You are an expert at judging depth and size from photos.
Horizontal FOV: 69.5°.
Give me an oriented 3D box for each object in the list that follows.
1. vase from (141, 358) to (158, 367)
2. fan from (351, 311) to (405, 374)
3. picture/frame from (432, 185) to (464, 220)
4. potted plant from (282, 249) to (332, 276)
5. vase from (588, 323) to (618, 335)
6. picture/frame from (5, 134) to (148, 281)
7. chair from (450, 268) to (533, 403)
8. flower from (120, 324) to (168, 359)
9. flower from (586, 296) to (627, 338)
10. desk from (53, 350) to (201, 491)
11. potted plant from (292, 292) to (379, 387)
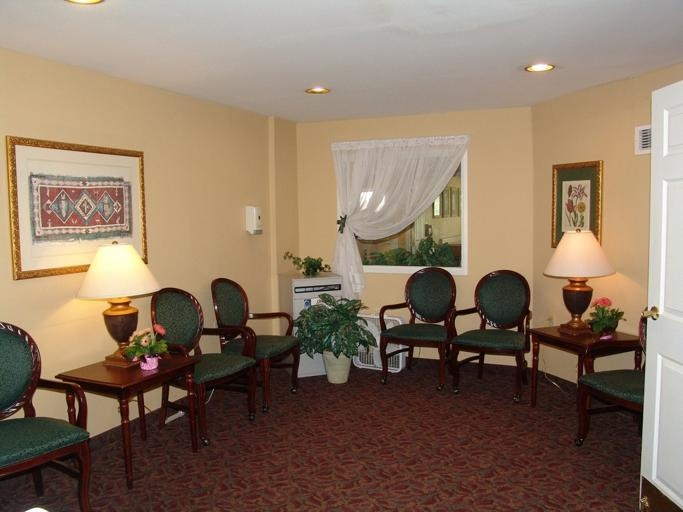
[{"bbox_3d":[-1.461,0.821,3.766,0.079,0.081,0.098,-6,-22,23],"label":"vase"},{"bbox_3d":[0.377,1.064,6.005,0.798,0.732,0.294,15,-19,-38],"label":"fan"},{"bbox_3d":[1.326,-0.671,6.011,0.436,0.424,0.034,2,1,28],"label":"picture/frame"},{"bbox_3d":[-0.453,0.083,6.173,0.533,0.272,0.617,1,8,13],"label":"potted plant"},{"bbox_3d":[2.315,0.629,4.325,0.148,0.093,0.148,-1,3,-16],"label":"vase"},{"bbox_3d":[-2.169,-0.379,3.928,0.028,1.204,1.296,4,4,32],"label":"picture/frame"},{"bbox_3d":[1.633,0.801,5.324,0.779,1.205,0.954,2,9,20],"label":"chair"},{"bbox_3d":[-1.534,0.669,3.833,0.295,0.184,0.303,11,10,19],"label":"flower"},{"bbox_3d":[2.366,0.535,4.483,0.367,0.346,0.365,-1,2,12],"label":"flower"},{"bbox_3d":[-1.573,1.080,3.980,0.940,0.942,1.026,2,5,29],"label":"desk"},{"bbox_3d":[0.039,0.870,5.625,0.922,0.833,1.014,5,9,42],"label":"potted plant"}]
